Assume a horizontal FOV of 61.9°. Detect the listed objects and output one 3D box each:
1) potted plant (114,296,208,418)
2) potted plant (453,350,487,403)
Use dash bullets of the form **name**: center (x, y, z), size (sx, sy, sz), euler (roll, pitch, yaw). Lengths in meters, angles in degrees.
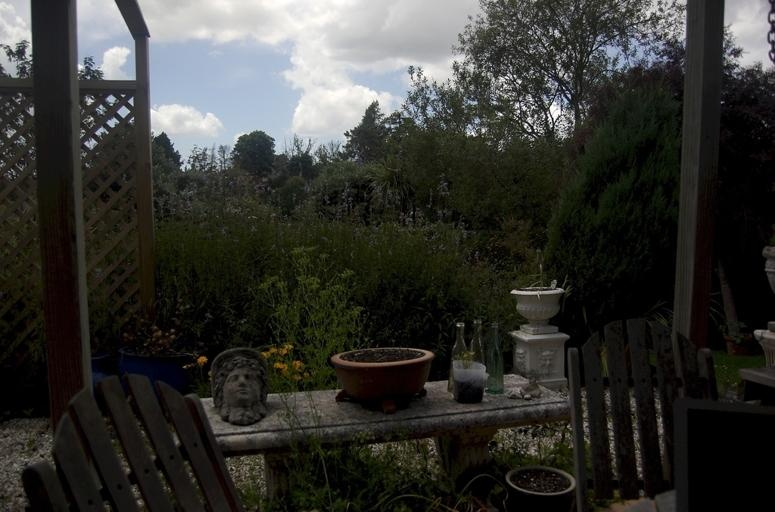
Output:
- **potted plant**: center (-2.268, 0.953, 6.206), size (0.743, 0.933, 0.749), euler (-8, -16, 13)
- **potted plant**: center (0.588, 0.859, 4.563), size (0.217, 0.262, 0.242), euler (6, 12, 28)
